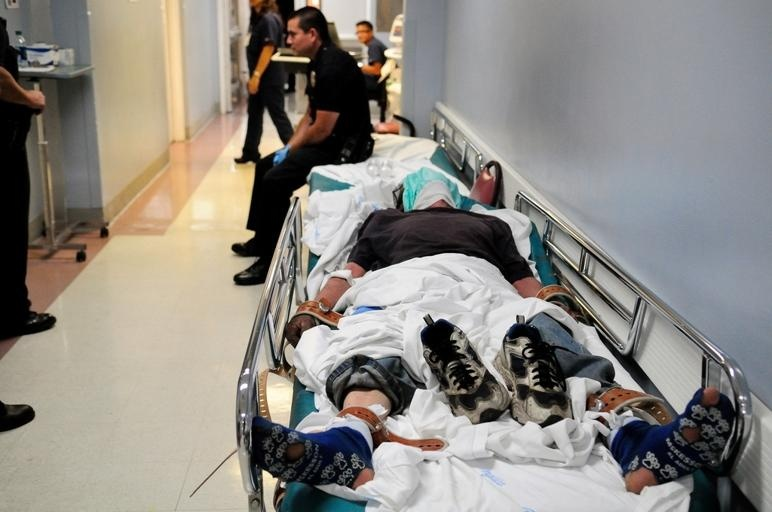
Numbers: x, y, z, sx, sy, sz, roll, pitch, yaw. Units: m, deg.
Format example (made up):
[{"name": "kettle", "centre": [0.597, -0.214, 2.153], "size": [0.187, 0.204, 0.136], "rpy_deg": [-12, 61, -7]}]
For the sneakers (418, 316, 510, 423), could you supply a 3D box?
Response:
[{"name": "sneakers", "centre": [0.274, 0.397, 2.139], "size": [0.199, 0.167, 0.412], "rpy_deg": [-33, 31, 1]}]

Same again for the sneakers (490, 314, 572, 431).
[{"name": "sneakers", "centre": [0.534, 0.447, 2.108], "size": [0.167, 0.147, 0.367], "rpy_deg": [-2, 28, -9]}]

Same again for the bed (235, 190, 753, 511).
[{"name": "bed", "centre": [0.248, 0.301, 2.386], "size": [1.448, 0.428, 1.670], "rpy_deg": [-3, 24, -10]}]

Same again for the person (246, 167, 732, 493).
[{"name": "person", "centre": [0.576, 0.323, 2.513], "size": [1.247, 0.485, 2.111], "rpy_deg": [-10, 13, 21]}]

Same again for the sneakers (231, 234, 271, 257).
[{"name": "sneakers", "centre": [-1.046, -0.075, 4.453], "size": [0.459, 0.186, 0.160], "rpy_deg": [6, 13, 36]}]
